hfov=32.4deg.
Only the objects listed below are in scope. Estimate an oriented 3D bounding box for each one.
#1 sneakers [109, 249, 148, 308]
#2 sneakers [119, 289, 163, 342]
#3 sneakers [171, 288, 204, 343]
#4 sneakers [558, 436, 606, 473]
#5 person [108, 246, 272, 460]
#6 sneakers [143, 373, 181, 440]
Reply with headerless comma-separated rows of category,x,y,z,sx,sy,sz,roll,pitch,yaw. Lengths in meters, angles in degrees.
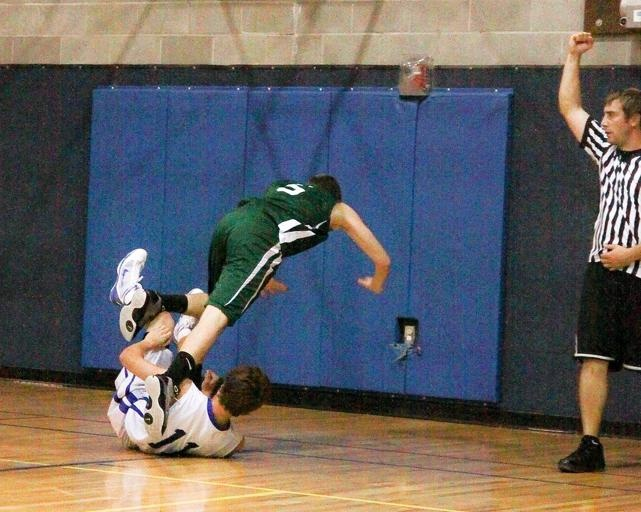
sneakers,-1.155,0.132,6.697,0.153,0.138,0.409,-2,45,29
sneakers,-1.025,0.334,6.072,0.164,0.379,0.140,3,40,-53
sneakers,-0.776,0.336,6.250,0.103,0.358,0.144,-8,25,-20
sneakers,1.376,1.030,5.771,0.266,0.188,0.103,1,-5,-24
person,-0.765,0.506,5.938,0.682,1.104,1.159,4,-6,-25
sneakers,-0.790,0.717,5.506,0.109,0.382,0.152,5,9,12
